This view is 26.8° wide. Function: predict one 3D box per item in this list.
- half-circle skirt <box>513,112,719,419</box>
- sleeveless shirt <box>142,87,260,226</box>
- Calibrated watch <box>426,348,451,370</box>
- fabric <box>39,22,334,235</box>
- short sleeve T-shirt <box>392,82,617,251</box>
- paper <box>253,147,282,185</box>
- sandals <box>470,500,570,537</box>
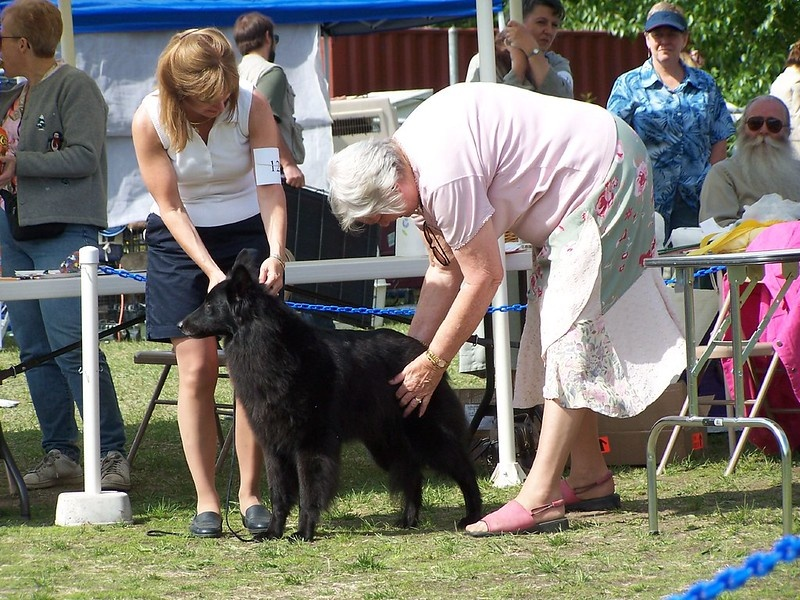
[{"bbox_3d":[0.976,-0.415,8.968,1.094,1.926,1.069,-4,16,-5],"label":"half-circle skirt"},{"bbox_3d":[-0.981,-0.704,9.069,0.469,0.624,0.349,-13,-10,17],"label":"sleeveless shirt"},{"bbox_3d":[0.192,0.318,8.688,0.095,0.056,0.109,27,12,-17],"label":"Calibrated watch"},{"bbox_3d":[-1.363,-1.098,10.386,1.846,1.315,0.306,-4,4,-11],"label":"fabric"},{"bbox_3d":[0.550,-0.638,8.700,1.038,0.531,0.799,7,22,-11],"label":"short sleeve T-shirt"},{"bbox_3d":[-0.712,-0.711,8.951,0.185,0.223,0.024,-6,-1,-31],"label":"paper"},{"bbox_3d":[0.635,1.156,8.881,0.497,0.160,0.193,0,-6,-5],"label":"sandals"}]
